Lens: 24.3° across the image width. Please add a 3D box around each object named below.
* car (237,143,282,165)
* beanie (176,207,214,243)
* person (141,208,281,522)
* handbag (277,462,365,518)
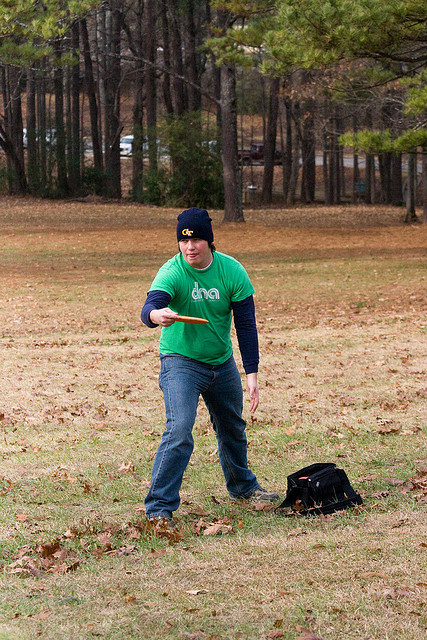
[{"bbox_3d":[2.304,-9.169,55.404,1.946,1.158,4.611,1,9,16],"label":"car"},{"bbox_3d":[-0.111,-0.547,5.837,0.202,0.197,0.231,-2,9,-2],"label":"beanie"},{"bbox_3d":[-0.057,0.292,5.973,0.502,1.888,0.991,3,10,26],"label":"person"},{"bbox_3d":[0.658,1.060,6.250,0.421,0.184,0.495,-15,12,-23],"label":"handbag"}]
